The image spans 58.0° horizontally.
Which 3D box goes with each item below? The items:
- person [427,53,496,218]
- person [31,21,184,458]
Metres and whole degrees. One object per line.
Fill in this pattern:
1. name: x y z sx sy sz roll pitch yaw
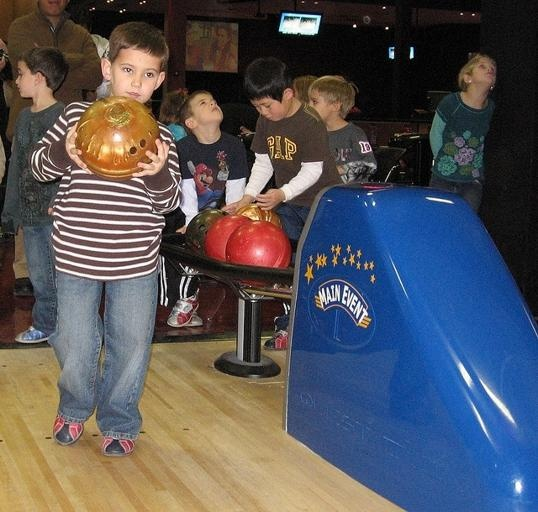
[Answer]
1. person: 1.555 -1.020 3.959 0.467 1.252 0.281 5 7 20
2. person: -0.499 -0.045 1.467 0.521 1.238 0.476 2 -4 -11
